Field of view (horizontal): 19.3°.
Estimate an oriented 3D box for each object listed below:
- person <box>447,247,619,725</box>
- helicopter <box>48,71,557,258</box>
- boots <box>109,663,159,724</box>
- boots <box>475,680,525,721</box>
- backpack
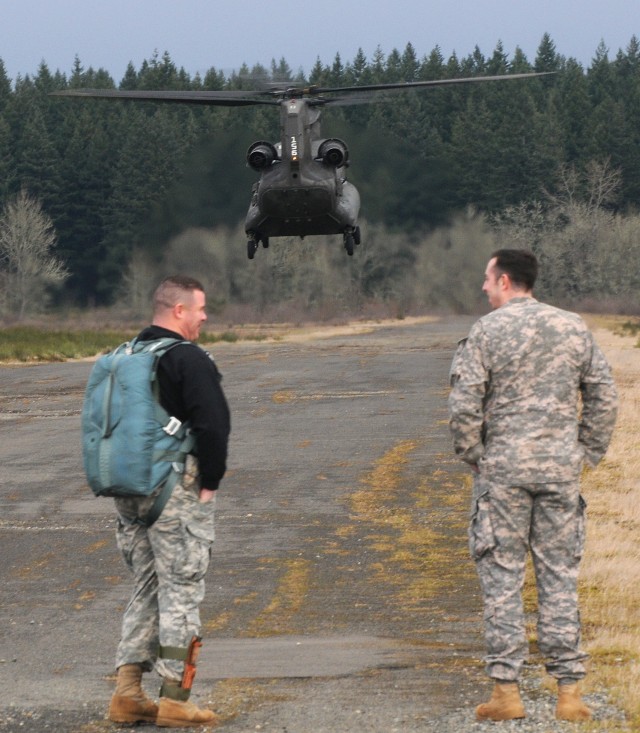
[{"bbox_3d":[1.149,0.577,10.082,0.883,2.448,0.831,1,3,11],"label":"person"},{"bbox_3d":[-0.473,-2.992,27.113,6.684,3.002,8.441,-2,2,1],"label":"helicopter"},{"bbox_3d":[-0.981,1.720,9.945,0.265,0.300,0.192,0,3,-11],"label":"boots"},{"bbox_3d":[0.960,1.733,9.805,0.277,0.281,0.141,3,-6,17],"label":"boots"},{"bbox_3d":[-0.996,0.258,10.018,0.449,0.937,0.517,7,15,30],"label":"backpack"}]
